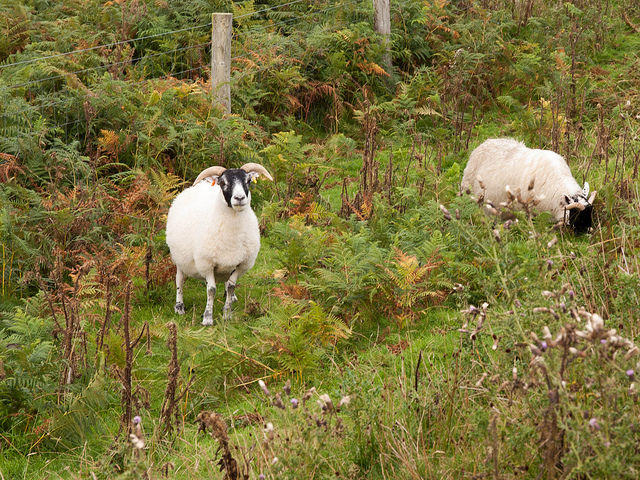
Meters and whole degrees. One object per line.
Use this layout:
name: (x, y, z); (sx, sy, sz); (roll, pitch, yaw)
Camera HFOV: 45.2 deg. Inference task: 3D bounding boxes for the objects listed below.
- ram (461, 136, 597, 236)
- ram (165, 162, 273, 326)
ram: (2.611, -0.695, 9.555); (0.731, 0.887, 1.848); (-13, 21, -43)
ram: (-1.262, 0.005, 9.032); (1.151, 1.742, 0.891); (10, 16, 30)
